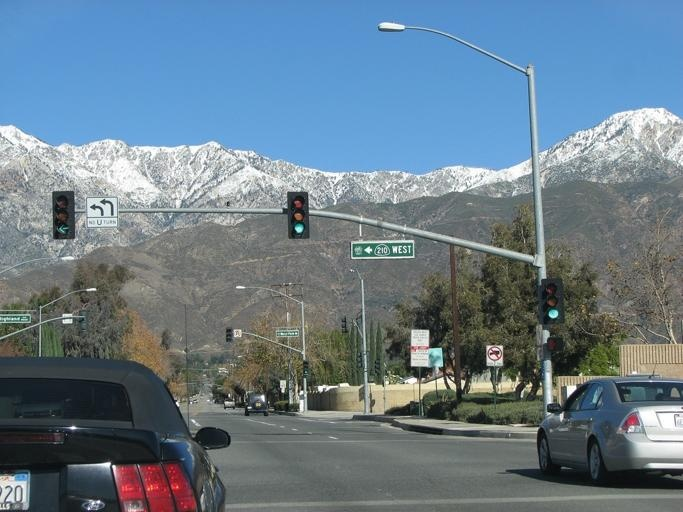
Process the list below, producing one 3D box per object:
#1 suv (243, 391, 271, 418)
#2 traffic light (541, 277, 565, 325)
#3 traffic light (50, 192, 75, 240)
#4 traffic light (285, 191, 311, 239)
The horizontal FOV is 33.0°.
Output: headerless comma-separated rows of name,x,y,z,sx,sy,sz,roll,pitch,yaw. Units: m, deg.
suv,-6.273,10.736,83.567,1.271,1.205,2.484,1,-1,-3
traffic light,5.542,1.150,30.387,0.712,1.196,0.557,-12,-14,43
traffic light,-7.281,-1.134,30.145,0.555,1.306,1.288,1,-11,-16
traffic light,-1.155,-1.044,29.870,0.523,1.280,0.377,2,-18,-11
